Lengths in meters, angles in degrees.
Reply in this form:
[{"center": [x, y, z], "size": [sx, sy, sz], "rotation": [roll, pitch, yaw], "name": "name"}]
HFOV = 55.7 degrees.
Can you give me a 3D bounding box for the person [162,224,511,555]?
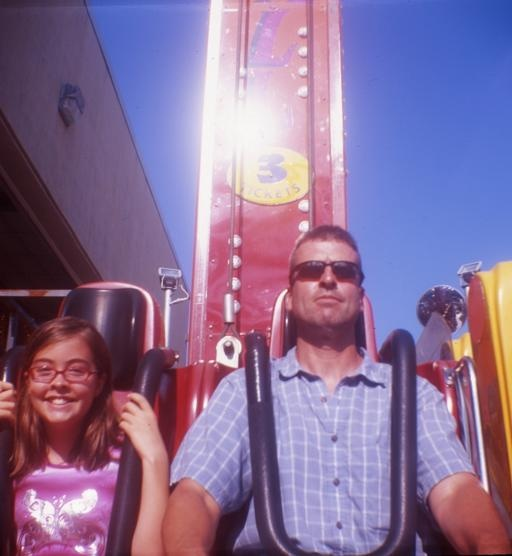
[{"center": [0.170, 0.409, 1.496], "size": [0.558, 0.801, 1.025], "rotation": [2, 56, 0], "name": "person"}]
